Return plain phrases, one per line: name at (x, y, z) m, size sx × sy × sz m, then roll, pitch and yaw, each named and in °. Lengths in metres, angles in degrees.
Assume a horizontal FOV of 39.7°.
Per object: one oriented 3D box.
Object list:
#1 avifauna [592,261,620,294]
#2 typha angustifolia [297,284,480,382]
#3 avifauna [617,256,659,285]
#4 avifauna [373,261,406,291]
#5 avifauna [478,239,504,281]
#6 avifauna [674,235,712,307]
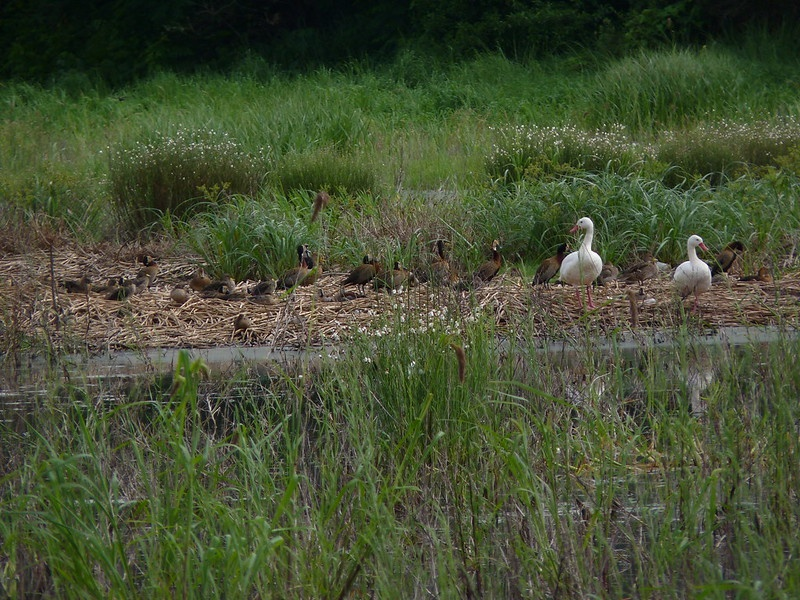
avifauna at (2.007, -0.222, 10.804) m, size 0.092 × 0.284 × 0.246 m, roll 28°, pitch -4°, yaw -34°
typha angustifolia at (0.141, 0.150, 7.715) m, size 0.838 × 0.668 × 0.622 m, roll -3°, pitch 5°, yaw -19°
avifauna at (2.353, -0.269, 10.872) m, size 0.353 × 0.181 × 0.348 m, roll -3°, pitch 9°, yaw 13°
avifauna at (-0.129, -0.219, 10.431) m, size 0.340 × 0.308 × 0.218 m, roll -12°, pitch 9°, yaw -10°
avifauna at (0.877, -0.374, 10.866) m, size 0.199 × 0.337 × 0.655 m, roll -1°, pitch 10°, yaw 18°
avifauna at (2.668, -0.269, 10.112) m, size 0.324 × 0.593 × 1.091 m, roll -1°, pitch 10°, yaw 15°
